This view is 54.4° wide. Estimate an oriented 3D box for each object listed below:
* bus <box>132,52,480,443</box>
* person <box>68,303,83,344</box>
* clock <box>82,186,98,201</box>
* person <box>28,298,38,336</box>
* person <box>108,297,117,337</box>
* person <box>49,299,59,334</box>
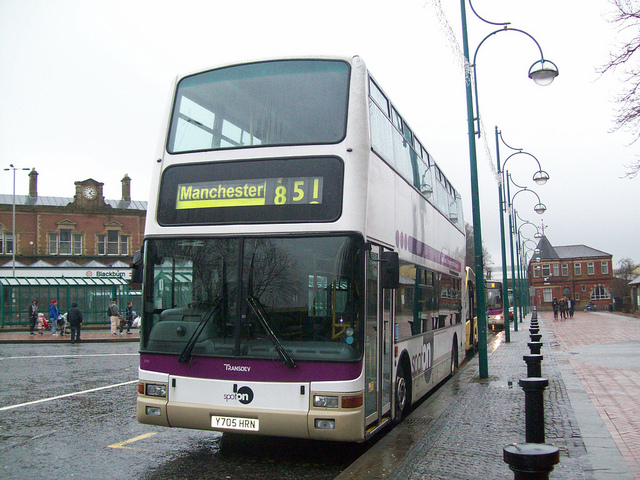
[{"bbox_3d":[1.176,0.643,14.268,3.129,5.700,11.706,-2,-7,19],"label":"bus"},{"bbox_3d":[-11.504,3.893,29.132,0.563,1.662,2.055,1,-1,-22],"label":"person"},{"bbox_3d":[-22.665,-4.484,61.012,1.181,1.439,0.081,-1,-7,-22],"label":"clock"},{"bbox_3d":[-15.940,4.363,34.471,0.336,1.752,2.213,1,-1,-26],"label":"person"},{"bbox_3d":[-10.596,4.039,31.843,0.380,1.663,1.495,1,-1,-19],"label":"person"},{"bbox_3d":[-14.858,4.378,34.636,0.415,1.725,2.907,1,-1,-24],"label":"person"}]
